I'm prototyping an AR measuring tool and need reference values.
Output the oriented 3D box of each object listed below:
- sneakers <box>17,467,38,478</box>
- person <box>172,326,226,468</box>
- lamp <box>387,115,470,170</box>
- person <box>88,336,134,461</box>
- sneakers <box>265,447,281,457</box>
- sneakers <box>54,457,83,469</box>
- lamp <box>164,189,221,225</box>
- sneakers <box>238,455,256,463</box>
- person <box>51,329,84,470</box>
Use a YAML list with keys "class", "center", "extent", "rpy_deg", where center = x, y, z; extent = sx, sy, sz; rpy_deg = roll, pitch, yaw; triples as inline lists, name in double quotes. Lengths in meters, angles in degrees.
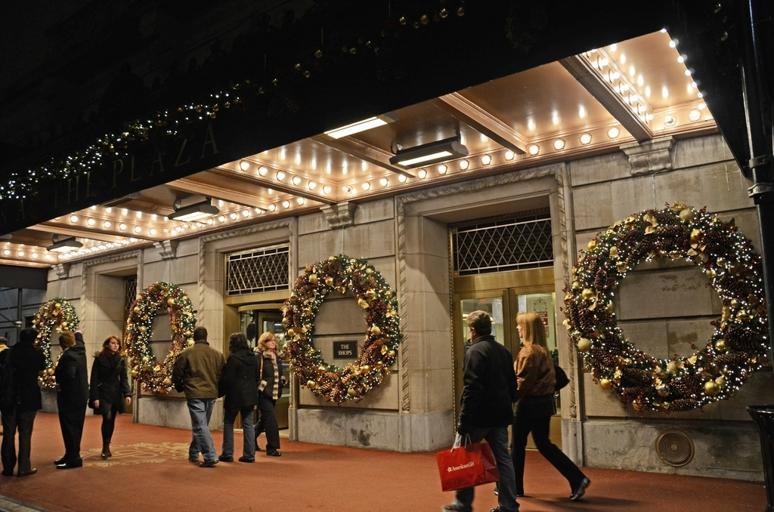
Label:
- class: "sneakers"
  center: [-5.933, 3.560, 10.583]
  extent: [0.094, 0.120, 0.284]
  rpy_deg: [-2, -1, 38]
- class: "person"
  center: [-3.297, 2.427, 11.173]
  extent: [0.849, 2.371, 0.326]
  rpy_deg: [1, -11, -15]
- class: "lamp"
  center: [0.703, -1.949, 11.496]
  extent: [1.475, 0.515, 0.458]
  rpy_deg: [-5, -17, 45]
- class: "person"
  center: [-5.105, 2.581, 11.784]
  extent: [0.665, 2.198, 0.717]
  rpy_deg: [3, -11, -23]
- class: "sneakers"
  center: [-2.111, 3.629, 11.843]
  extent: [0.301, 0.212, 0.107]
  rpy_deg: [-1, -8, -1]
- class: "sneakers"
  center: [-5.459, 3.541, 11.063]
  extent: [0.512, 0.217, 0.172]
  rpy_deg: [4, -11, 6]
- class: "lamp"
  center: [-4.268, -1.072, 14.361]
  extent: [1.166, 0.632, 0.597]
  rpy_deg: [-8, -16, 34]
- class: "sneakers"
  center: [-2.455, 3.554, 11.302]
  extent: [0.259, 0.111, 0.110]
  rpy_deg: [-2, -7, 41]
- class: "person"
  center: [-5.469, 2.465, 11.053]
  extent: [0.503, 2.304, 0.602]
  rpy_deg: [3, -11, -23]
